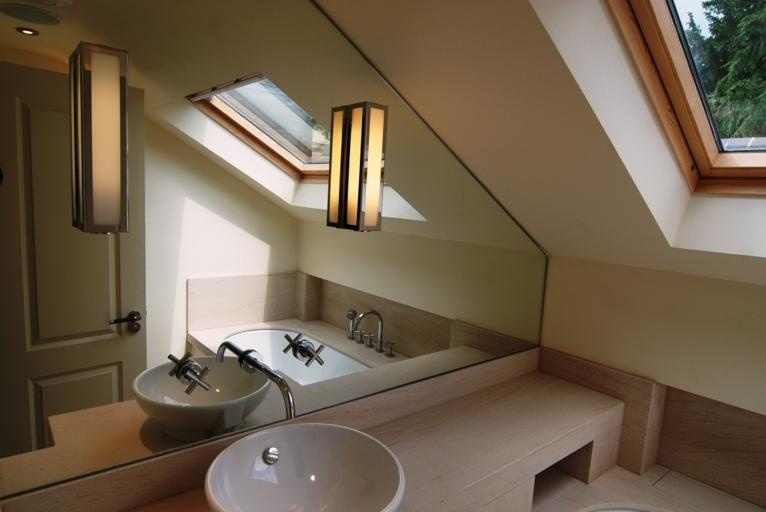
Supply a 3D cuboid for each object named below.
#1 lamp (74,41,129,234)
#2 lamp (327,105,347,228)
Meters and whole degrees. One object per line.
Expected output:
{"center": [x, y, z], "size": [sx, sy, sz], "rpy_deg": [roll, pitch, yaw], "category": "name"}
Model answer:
{"center": [-0.882, -0.366, 1.641], "size": [0.175, 0.588, 0.190], "rpy_deg": [11, 12, 40], "category": "lamp"}
{"center": [-0.169, -0.331, 1.963], "size": [0.032, 0.450, 0.087], "rpy_deg": [-2, 8, -35], "category": "lamp"}
